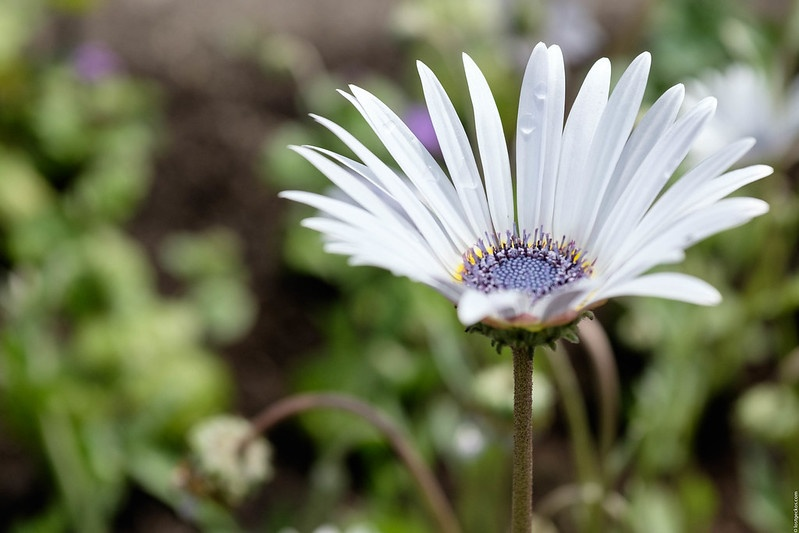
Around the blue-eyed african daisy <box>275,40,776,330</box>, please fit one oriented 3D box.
[{"bbox_3d":[0.218,-0.109,1.155,0.616,0.303,0.564,21,52,30],"label":"blue-eyed african daisy"}]
